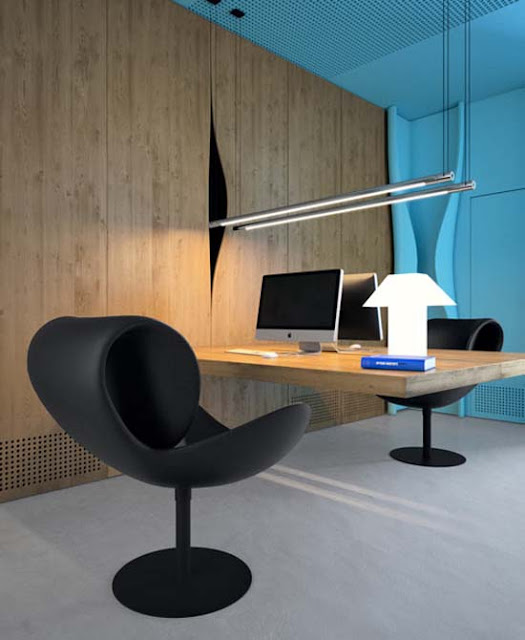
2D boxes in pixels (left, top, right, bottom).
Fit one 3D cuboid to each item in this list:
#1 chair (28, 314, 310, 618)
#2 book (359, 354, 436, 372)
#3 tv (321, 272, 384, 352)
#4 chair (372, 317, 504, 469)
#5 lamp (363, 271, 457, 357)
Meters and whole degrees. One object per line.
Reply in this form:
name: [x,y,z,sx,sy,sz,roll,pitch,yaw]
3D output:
chair: [-0.288,0.376,1.500,0.604,0.880,0.609,3,8,44]
book: [0.442,0.138,1.688,0.235,0.055,0.141,4,3,21]
tv: [0.449,-0.046,2.623,0.130,0.428,0.363,3,-4,-39]
chair: [1.063,0.364,3.134,0.662,0.923,0.739,6,-8,-35]
lamp: [0.523,-0.035,1.942,0.254,0.422,0.323,-2,1,-37]
